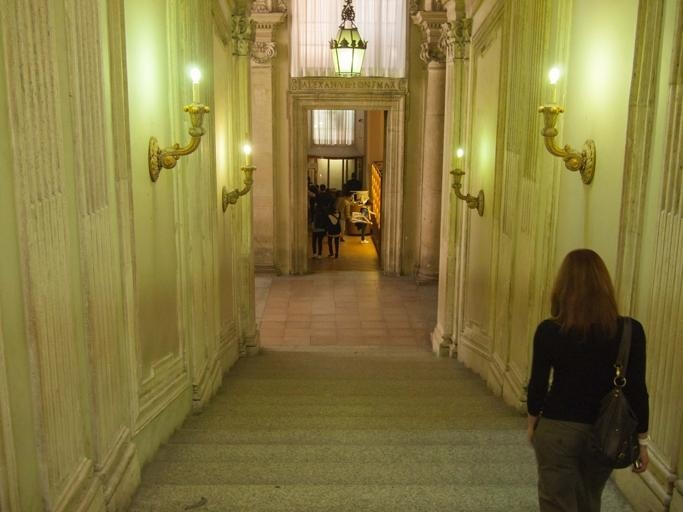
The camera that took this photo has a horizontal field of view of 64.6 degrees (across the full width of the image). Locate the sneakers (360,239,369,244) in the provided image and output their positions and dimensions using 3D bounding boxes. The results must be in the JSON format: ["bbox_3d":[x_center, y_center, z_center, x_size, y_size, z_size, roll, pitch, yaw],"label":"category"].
[{"bbox_3d":[0.636,-0.386,14.916,0.179,0.085,0.104,-4,20,0],"label":"sneakers"}]

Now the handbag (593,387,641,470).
[{"bbox_3d":[1.185,0.745,2.319,0.202,0.349,0.101,-6,12,-22],"label":"handbag"}]
